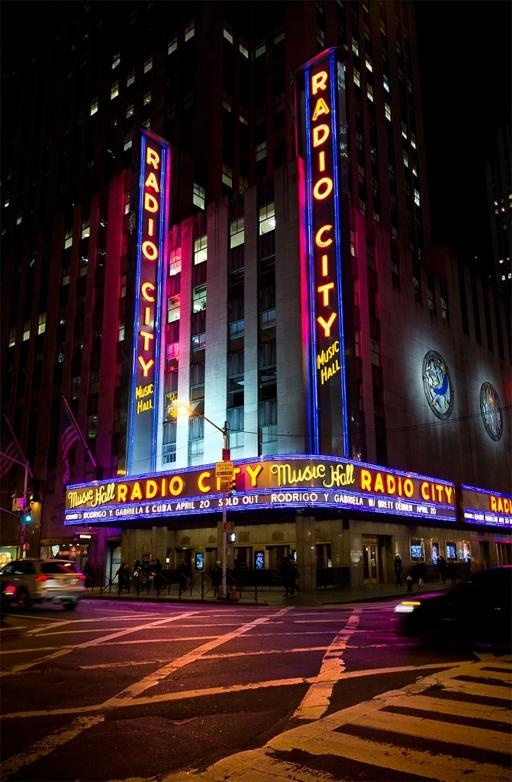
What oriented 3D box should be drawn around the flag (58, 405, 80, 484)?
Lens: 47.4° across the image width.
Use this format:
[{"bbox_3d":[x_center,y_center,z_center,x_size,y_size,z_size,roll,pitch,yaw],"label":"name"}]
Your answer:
[{"bbox_3d":[-15.289,4.637,47.586,0.801,2.527,7.664,-31,-29,-41],"label":"flag"}]
